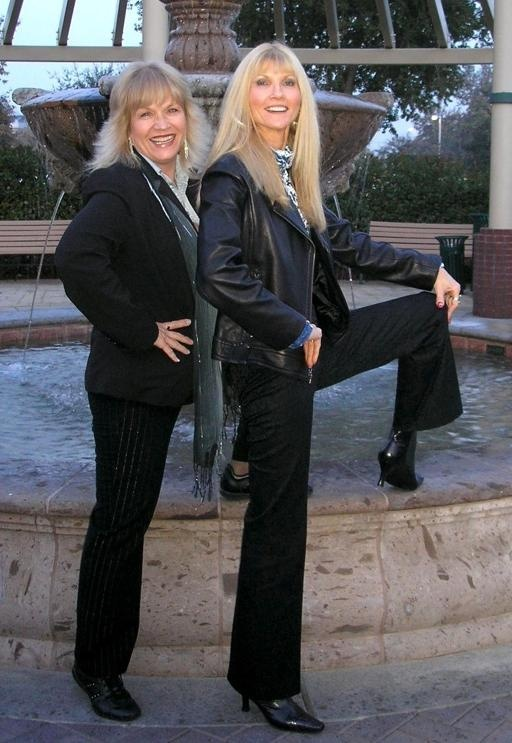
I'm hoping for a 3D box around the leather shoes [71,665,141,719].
[{"bbox_3d":[-0.363,0.771,1.557,0.189,0.073,0.072,9,6,41],"label":"leather shoes"}]

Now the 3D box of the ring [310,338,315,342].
[{"bbox_3d":[0.115,-0.063,1.291,0.007,0.006,0.006,0,6,8],"label":"ring"}]

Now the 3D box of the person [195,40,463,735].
[{"bbox_3d":[0.173,0.047,1.566,0.472,1.566,0.939,-2,-2,31],"label":"person"}]

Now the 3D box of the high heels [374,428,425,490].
[{"bbox_3d":[0.438,0.269,1.985,0.207,0.201,0.115,-12,16,-36],"label":"high heels"}]

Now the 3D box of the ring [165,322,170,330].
[{"bbox_3d":[-0.202,-0.104,1.429,0.005,0.020,0.008,0,-8,2],"label":"ring"}]

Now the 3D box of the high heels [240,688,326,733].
[{"bbox_3d":[0.076,0.797,1.505,0.214,0.093,0.068,-6,-8,22],"label":"high heels"}]
